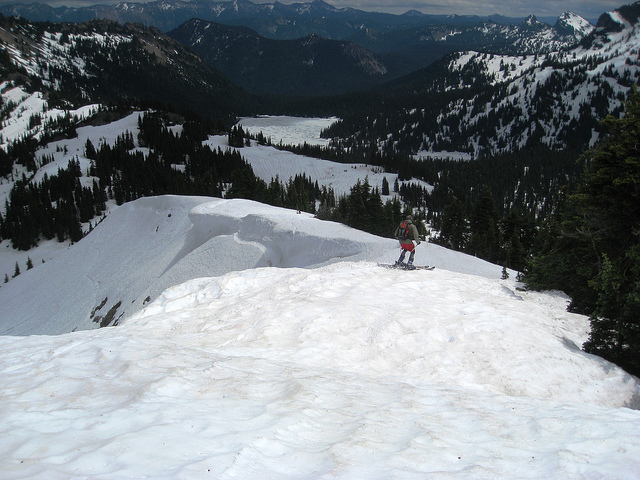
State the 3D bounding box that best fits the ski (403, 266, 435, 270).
[{"bbox_3d":[5.394,1.551,28.881,2.229,0.193,0.271,1,44,-21],"label":"ski"}]
